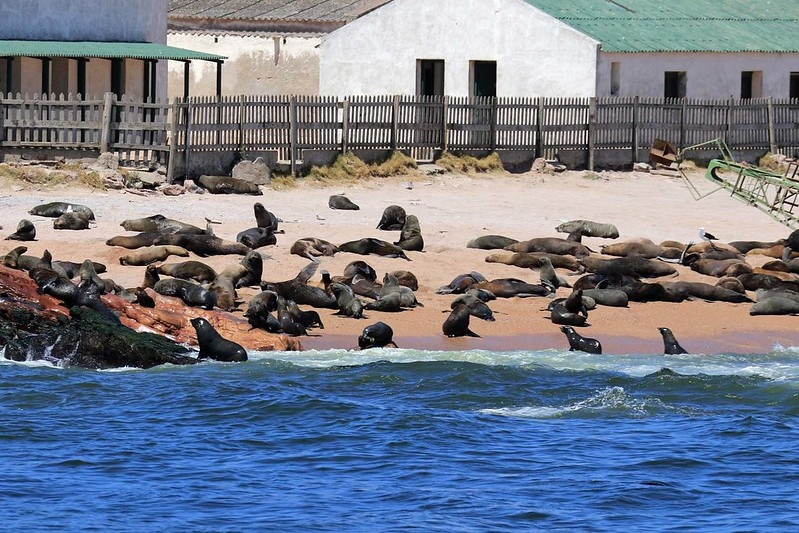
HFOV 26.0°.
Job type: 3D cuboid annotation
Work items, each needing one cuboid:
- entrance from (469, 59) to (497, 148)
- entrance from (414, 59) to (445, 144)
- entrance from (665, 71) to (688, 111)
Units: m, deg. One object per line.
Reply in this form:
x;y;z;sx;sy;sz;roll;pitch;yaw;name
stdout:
2.870;-5.610;56.875;0.835;2.244;0.160;4;3;28;entrance
1.032;-4.506;53.675;0.968;0.147;2.439;11;-31;7;entrance
9.122;-5.646;56.473;0.752;1.333;2.142;2;4;9;entrance
